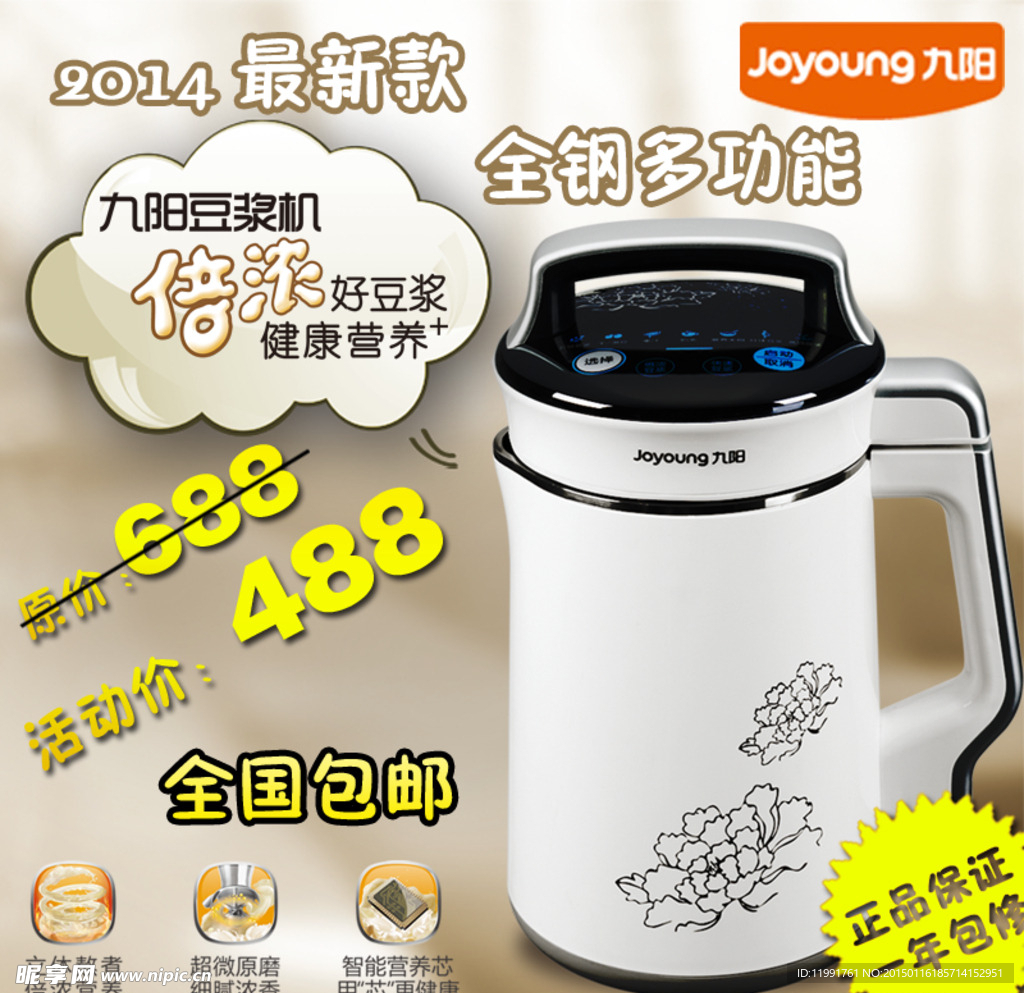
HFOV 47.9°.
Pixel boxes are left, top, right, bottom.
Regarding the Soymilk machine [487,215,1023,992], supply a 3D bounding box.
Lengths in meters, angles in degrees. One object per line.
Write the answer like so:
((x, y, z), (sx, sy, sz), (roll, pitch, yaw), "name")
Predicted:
((0.173, 0.124, 1.112), (0.383, 0.775, 0.229), (-5, 8, -3), "Soymilk machine")
